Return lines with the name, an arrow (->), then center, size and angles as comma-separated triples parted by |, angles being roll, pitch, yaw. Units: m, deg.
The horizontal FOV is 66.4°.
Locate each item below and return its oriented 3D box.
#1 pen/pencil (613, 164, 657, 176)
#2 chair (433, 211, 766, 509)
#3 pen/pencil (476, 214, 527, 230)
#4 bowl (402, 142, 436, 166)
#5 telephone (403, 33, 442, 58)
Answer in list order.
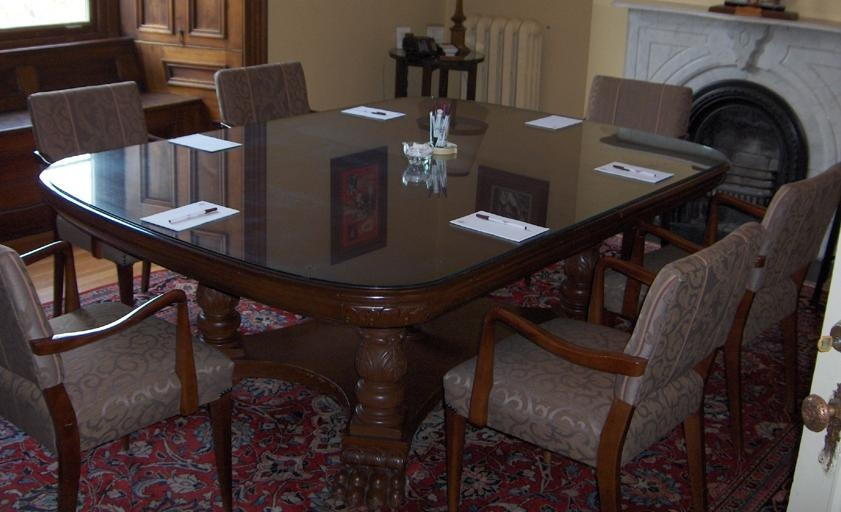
pen/pencil -> 0.981, -0.399, 2.963 | 0.190, 0.025, 0.023 | 15, 42, 24
chair -> 0.682, 0.275, 2.785 | 1.093, 1.410, 1.009 | 23, 33, 37
pen/pencil -> 0.302, -0.132, 2.441 | 0.177, 0.024, 0.023 | 16, 19, 35
bowl -> -0.021, -0.484, 3.011 | 0.130, 0.073, 0.132 | 5, 19, -2
telephone -> 0.001, -1.799, 5.384 | 0.278, 0.152, 0.206 | 20, 31, 35
